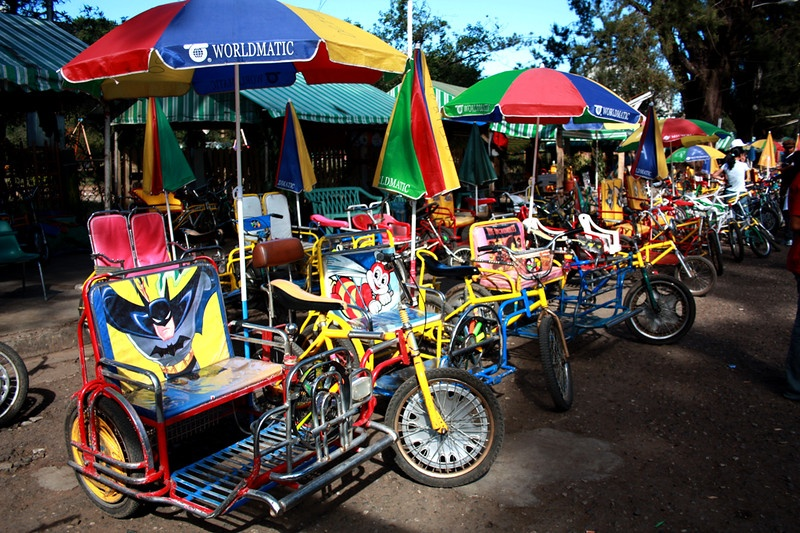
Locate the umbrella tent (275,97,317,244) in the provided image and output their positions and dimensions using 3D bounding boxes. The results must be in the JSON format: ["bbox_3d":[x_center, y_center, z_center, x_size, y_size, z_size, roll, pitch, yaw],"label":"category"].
[{"bbox_3d":[-1.748,-1.509,10.196,0.571,2.490,0.620,21,42,22],"label":"umbrella tent"}]

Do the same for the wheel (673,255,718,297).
[{"bbox_3d":[4.785,0.157,9.691,0.520,0.553,0.539,-18,0,0],"label":"wheel"}]

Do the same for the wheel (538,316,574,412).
[{"bbox_3d":[1.688,1.072,6.689,0.279,1.064,1.075,-11,-24,17],"label":"wheel"}]

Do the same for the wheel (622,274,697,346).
[{"bbox_3d":[3.435,0.604,7.944,0.741,0.804,0.157,-14,5,14],"label":"wheel"}]

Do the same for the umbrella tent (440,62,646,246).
[{"bbox_3d":[2.371,-2.084,10.535,3.072,2.676,3.213,7,15,22],"label":"umbrella tent"}]

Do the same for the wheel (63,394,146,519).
[{"bbox_3d":[-2.458,1.577,5.014,0.892,0.927,0.181,16,18,33],"label":"wheel"}]
